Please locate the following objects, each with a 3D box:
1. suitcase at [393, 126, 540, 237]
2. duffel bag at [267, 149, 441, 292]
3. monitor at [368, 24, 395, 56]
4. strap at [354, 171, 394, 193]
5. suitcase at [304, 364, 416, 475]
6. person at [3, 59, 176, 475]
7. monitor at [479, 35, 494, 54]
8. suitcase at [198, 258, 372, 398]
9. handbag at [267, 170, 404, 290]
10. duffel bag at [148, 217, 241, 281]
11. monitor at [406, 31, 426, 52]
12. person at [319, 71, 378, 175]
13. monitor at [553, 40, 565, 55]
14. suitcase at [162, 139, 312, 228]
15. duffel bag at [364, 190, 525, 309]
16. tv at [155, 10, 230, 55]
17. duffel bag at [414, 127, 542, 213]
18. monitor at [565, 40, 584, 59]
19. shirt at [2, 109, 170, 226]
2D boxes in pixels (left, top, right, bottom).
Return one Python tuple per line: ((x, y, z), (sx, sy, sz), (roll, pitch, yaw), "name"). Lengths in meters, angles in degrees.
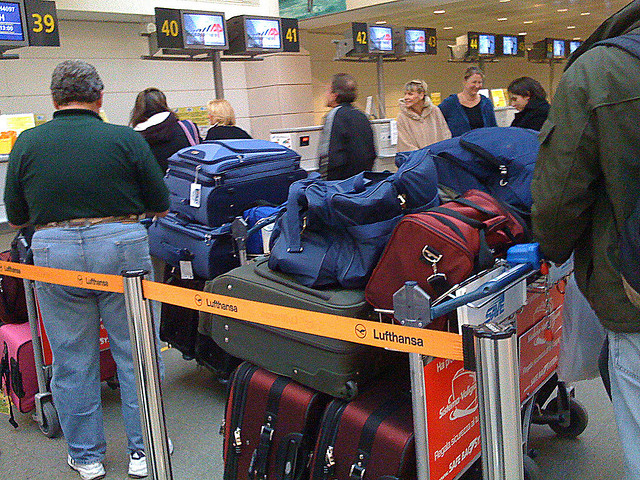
((0.782, -0.252, 2.713), (0.562, 0.183, 0.609), (-18, 47, -35), "suitcase")
((0.132, -0.111, 2.422), (0.601, 0.642, 0.696), (10, 15, 28), "duffel bag")
((1.027, -3.399, 9.100), (0.074, 0.481, 0.804), (11, 21, 39), "monitor")
((0.241, -0.279, 2.443), (0.180, 0.075, 0.102), (-11, 9, 1), "strap")
((0.145, 0.685, 2.024), (0.240, 0.404, 0.444), (13, 12, 29), "suitcase")
((-1.106, 0.171, 2.614), (0.788, 2.014, 0.676), (-6, 16, -12), "person")
((3.864, -4.526, 12.439), (0.133, 0.401, 0.683), (8, 18, 35), "monitor")
((-0.079, 0.305, 2.434), (0.893, 0.454, 0.555), (12, 21, 32), "suitcase")
((0.048, -0.066, 2.304), (0.508, 0.342, 0.514), (14, 24, 33), "handbag")
((-0.726, 0.012, 3.392), (0.508, 0.281, 0.618), (-3, 16, -42), "duffel bag")
((1.910, -3.914, 10.580), (0.206, 0.438, 0.786), (8, 17, 33), "monitor")
((0.222, -0.942, 4.325), (0.349, 0.777, 0.483), (6, 17, 28), "person")
((6.936, -5.589, 15.584), (0.128, 0.414, 0.953), (8, 18, 35), "monitor")
((-0.554, -0.418, 3.456), (0.604, 0.443, 0.807), (20, 26, 36), "suitcase")
((0.523, 0.029, 2.171), (0.401, 0.465, 0.496), (26, 38, 30), "duffel bag")
((-1.843, -2.904, 7.709), (1.018, 0.579, 0.569), (-5, -5, -26), "tv")
((0.759, -0.381, 2.640), (0.538, 0.178, 0.465), (10, 27, 25), "duffel bag")
((7.718, -5.881, 16.464), (0.341, 0.548, 1.502), (5, 16, 26), "monitor")
((-1.147, -0.345, 2.583), (0.776, 0.553, 0.294), (-6, 16, -14), "shirt")
